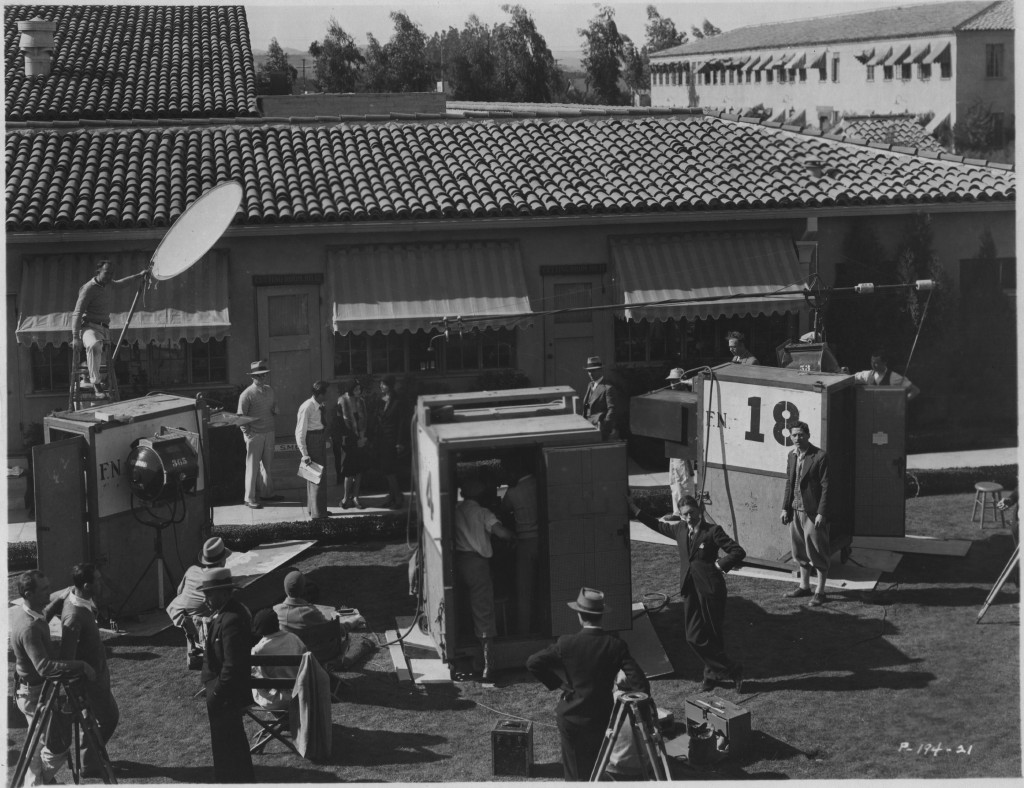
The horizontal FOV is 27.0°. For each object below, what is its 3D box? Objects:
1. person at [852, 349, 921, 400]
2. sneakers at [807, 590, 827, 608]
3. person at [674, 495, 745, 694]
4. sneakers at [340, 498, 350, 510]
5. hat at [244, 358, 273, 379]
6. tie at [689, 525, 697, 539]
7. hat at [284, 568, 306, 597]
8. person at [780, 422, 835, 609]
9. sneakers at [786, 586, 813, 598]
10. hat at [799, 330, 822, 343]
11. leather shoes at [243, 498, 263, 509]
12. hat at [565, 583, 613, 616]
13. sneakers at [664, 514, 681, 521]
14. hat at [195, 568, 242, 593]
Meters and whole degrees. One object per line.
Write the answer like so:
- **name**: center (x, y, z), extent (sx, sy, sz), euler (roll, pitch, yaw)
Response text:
- **person**: center (7.021, -0.401, 40.394), extent (0.913, 0.353, 0.680), euler (22, 1, -12)
- **sneakers**: center (5.047, 3.365, 35.249), extent (0.221, 0.214, 0.491), euler (-1, -4, 14)
- **person**: center (3.131, 3.274, 33.834), extent (1.189, 3.373, 1.161), euler (23, -38, -24)
- **sneakers**: center (-3.017, 2.009, 39.396), extent (0.165, 0.314, 0.175), euler (1, -2, -7)
- **hat**: center (-4.640, -0.523, 39.707), extent (0.384, 0.169, 0.463), euler (-13, -8, -13)
- **tie**: center (2.851, 2.140, 33.475), extent (0.118, 0.181, 0.052), euler (-2, -24, 27)
- **hat**: center (-3.314, 2.918, 33.285), extent (0.328, 0.446, 0.433), euler (3, 23, -3)
- **person**: center (4.902, 1.961, 35.227), extent (0.792, 2.966, 0.375), euler (-3, 2, 28)
- **sneakers**: center (4.789, 3.274, 35.466), extent (0.473, 0.184, 0.167), euler (1, -1, -3)
- **hat**: center (5.357, -1.050, 38.344), extent (0.352, 0.217, 0.777), euler (-4, 2, 4)
- **leather shoes**: center (-4.743, 2.010, 39.530), extent (0.242, 0.105, 0.400), euler (6, -6, -30)
- **hat**: center (1.249, 3.079, 31.517), extent (0.502, 0.221, 0.550), euler (13, -6, 20)
- **sneakers**: center (2.884, 2.171, 37.973), extent (0.259, 0.106, 0.201), euler (3, -2, 10)
- **hat**: center (-4.322, 2.738, 31.737), extent (0.470, 0.288, 0.720), euler (-5, 2, -15)
